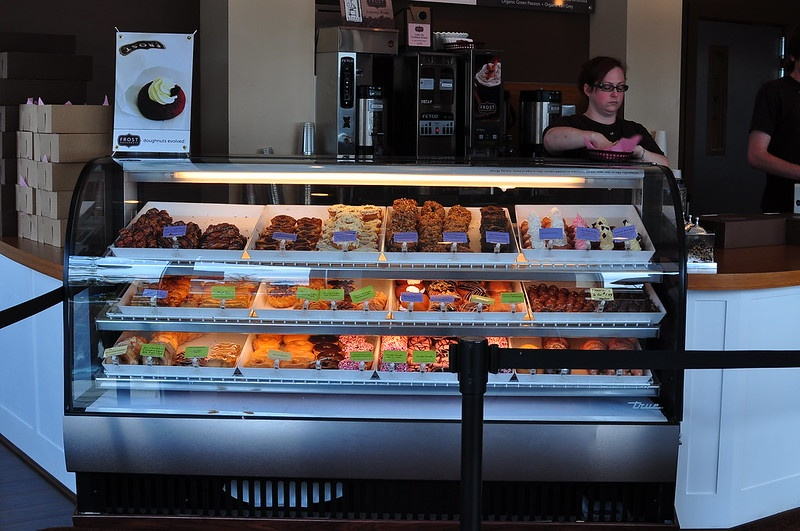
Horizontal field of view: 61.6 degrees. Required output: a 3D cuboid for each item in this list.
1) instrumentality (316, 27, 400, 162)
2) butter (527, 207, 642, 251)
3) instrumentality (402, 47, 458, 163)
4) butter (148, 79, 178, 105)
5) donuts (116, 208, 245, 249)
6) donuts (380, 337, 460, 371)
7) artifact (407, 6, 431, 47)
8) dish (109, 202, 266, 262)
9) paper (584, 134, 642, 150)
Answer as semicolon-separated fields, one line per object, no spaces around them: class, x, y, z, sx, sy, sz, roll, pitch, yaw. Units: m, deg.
instrumentality;-0.289;-1.257;5.186;0.683;0.938;0.625;-4;2;-34
butter;0.810;-0.164;3.011;0.396;0.052;0.237;1;53;1
instrumentality;0.190;-1.189;4.977;0.463;0.735;0.276;3;13;12
butter;-1.094;-0.798;3.094;0.124;0.124;0.046;-1;-12;-11
donuts;-0.956;-0.132;3.006;0.348;0.057;0.221;4;40;1
donuts;0.086;0.382;2.973;0.264;0.061;0.272;0;13;1
artifact;0.156;-1.854;5.274;0.201;0.302;0.106;0;13;-1
dish;-0.941;-0.144;2.976;0.453;0.057;0.326;3;39;-1
paper;1.013;-0.567;3.226;0.130;0.057;0.172;-1;3;-37
